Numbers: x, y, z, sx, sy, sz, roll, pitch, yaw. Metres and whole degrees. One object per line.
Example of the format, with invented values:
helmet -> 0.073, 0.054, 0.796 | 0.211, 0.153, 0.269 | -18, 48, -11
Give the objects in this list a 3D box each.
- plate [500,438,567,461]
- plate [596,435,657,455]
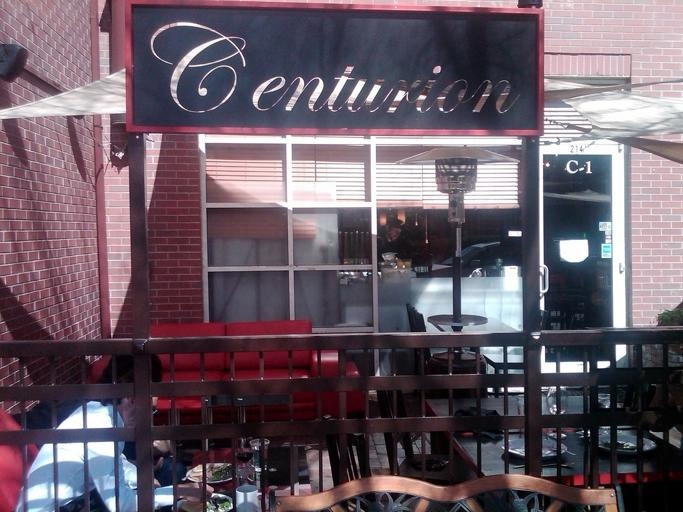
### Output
plate -> 1.360, 1.356, 5.812 | 0.331, 0.077, 0.300 | -2, 3, -4
plate -> 1.987, 1.315, 5.769 | 0.272, 0.035, 0.268 | -1, -3, 0
